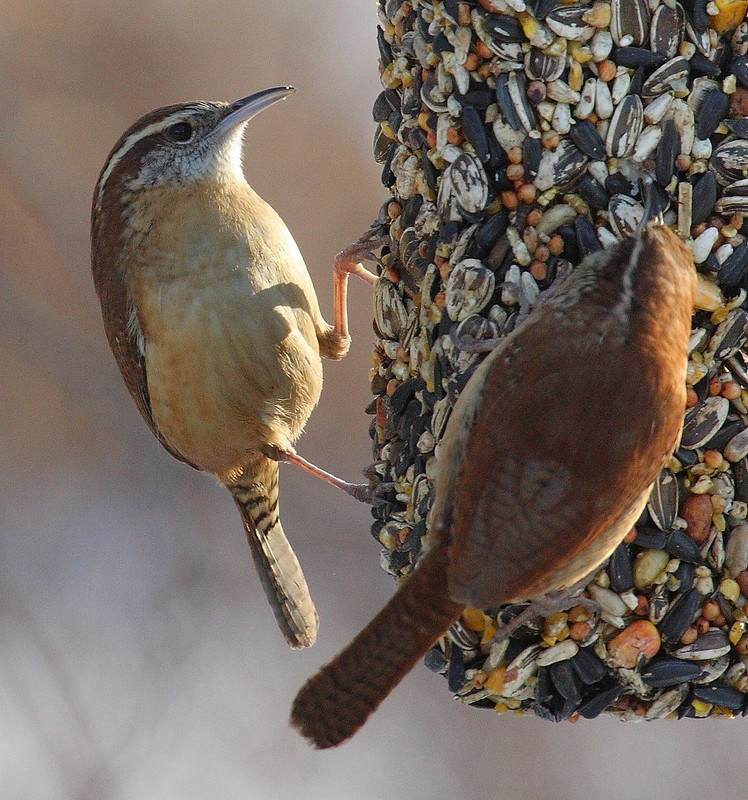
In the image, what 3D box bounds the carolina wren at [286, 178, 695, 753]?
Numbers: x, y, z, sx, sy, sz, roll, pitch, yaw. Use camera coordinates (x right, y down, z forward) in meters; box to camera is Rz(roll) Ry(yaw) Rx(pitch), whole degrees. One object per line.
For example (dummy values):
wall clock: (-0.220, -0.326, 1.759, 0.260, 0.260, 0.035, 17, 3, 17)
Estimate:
carolina wren: (0.197, 0.134, 1.914, 0.292, 0.910, 0.368, 37, -4, 12)
